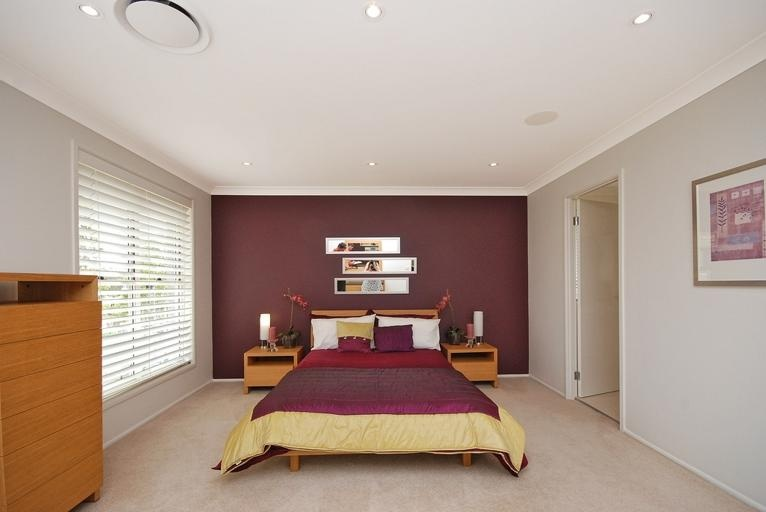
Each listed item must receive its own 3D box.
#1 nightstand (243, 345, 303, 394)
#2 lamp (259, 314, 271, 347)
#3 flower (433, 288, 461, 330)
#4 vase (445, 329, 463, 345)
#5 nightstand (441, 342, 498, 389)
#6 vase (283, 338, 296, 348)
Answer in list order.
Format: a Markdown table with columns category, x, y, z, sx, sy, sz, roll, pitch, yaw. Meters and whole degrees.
| category | x | y | z | sx | sy | sz | roll | pitch | yaw |
| --- | --- | --- | --- | --- | --- | --- | --- | --- | --- |
| nightstand | -1.535 | 1.540 | 6.620 | 0.602 | 0.421 | 0.690 | 0 | -5 | -5 |
| lamp | -1.639 | 1.016 | 6.728 | 0.171 | 0.435 | 0.312 | -3 | 10 | -15 |
| flower | 0.935 | 0.768 | 6.976 | 0.495 | 0.753 | 0.347 | 2 | -3 | 2 |
| vase | 0.993 | 1.133 | 6.759 | 0.219 | 0.202 | 0.215 | 4 | -10 | -12 |
| nightstand | 1.222 | 1.457 | 6.540 | 0.600 | 0.468 | 0.639 | 0 | -3 | -1 |
| vase | -1.287 | 1.193 | 6.614 | 0.140 | 0.128 | 0.137 | 0 | -3 | -6 |
